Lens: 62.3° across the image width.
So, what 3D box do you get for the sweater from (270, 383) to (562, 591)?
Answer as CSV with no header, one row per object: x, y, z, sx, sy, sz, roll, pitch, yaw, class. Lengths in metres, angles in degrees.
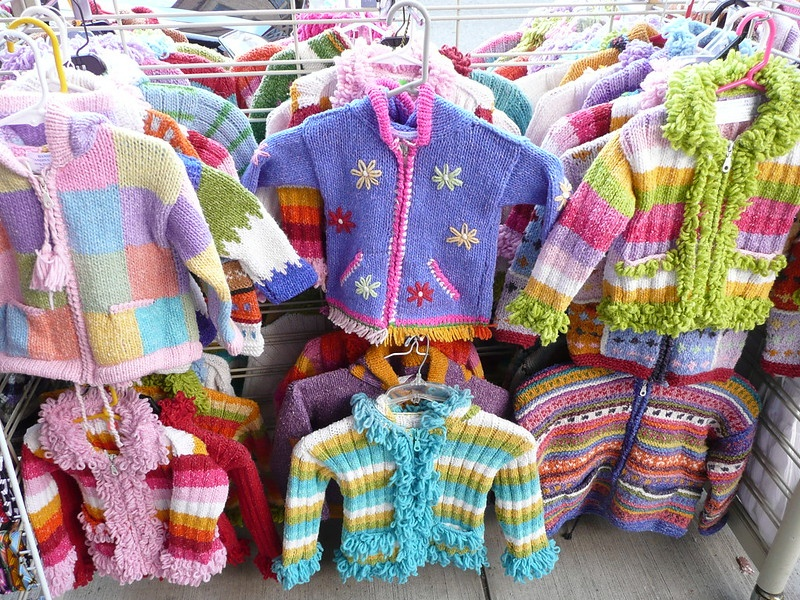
0.040,0.462,1.679,0.606,0.485,0.119,-1,31,-1,sweater

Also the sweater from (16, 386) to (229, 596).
-0.673,0.444,1.584,0.507,0.618,0.216,2,35,-6,sweater

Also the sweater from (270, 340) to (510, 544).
-0.021,0.357,1.658,0.584,0.500,0.142,-3,38,-3,sweater

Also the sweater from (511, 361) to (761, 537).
0.631,0.382,1.774,0.593,0.529,0.086,3,43,8,sweater

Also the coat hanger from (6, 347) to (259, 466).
-0.643,0.250,1.540,0.615,0.628,0.079,-3,68,-9,coat hanger

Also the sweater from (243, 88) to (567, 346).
0.022,-0.191,1.499,0.653,0.577,0.135,3,36,0,sweater

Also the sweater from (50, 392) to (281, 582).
-0.588,0.453,1.617,0.490,0.653,0.089,-14,38,19,sweater

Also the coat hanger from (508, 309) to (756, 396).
0.638,0.132,1.659,0.325,0.145,0.235,5,20,8,coat hanger

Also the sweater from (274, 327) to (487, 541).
-0.019,0.371,1.742,0.720,0.637,0.195,2,-11,-15,sweater
